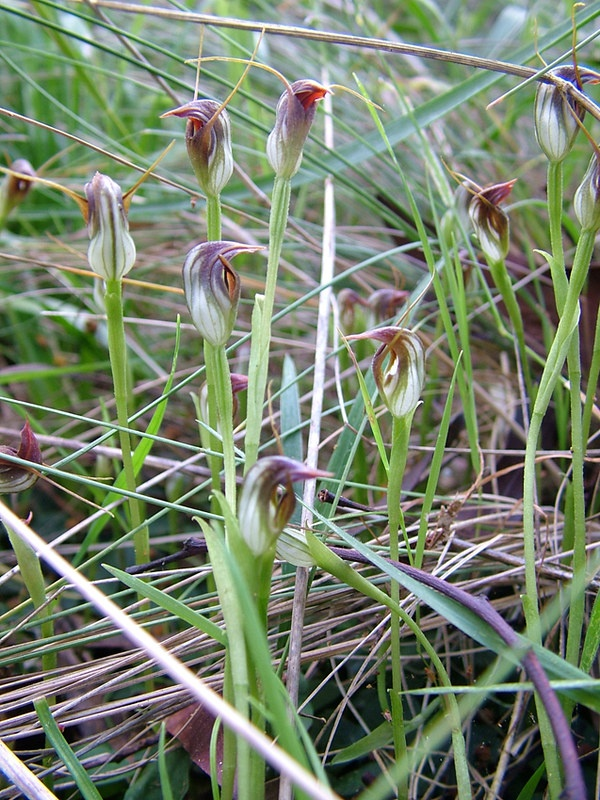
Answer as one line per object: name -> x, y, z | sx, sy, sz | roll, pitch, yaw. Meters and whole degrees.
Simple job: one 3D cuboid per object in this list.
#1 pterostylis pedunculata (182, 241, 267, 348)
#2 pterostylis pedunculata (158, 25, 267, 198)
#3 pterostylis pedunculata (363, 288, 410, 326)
pterostylis pedunculata -> -0.072, -0.097, 0.678 | 0.057, 0.097, 0.055 | -25, 46, -26
pterostylis pedunculata -> -0.088, -0.279, 0.739 | 0.093, 0.158, 0.075 | -12, 29, -30
pterostylis pedunculata -> 0.134, -0.161, 1.206 | 0.050, 0.064, 0.025 | 32, 29, -28
